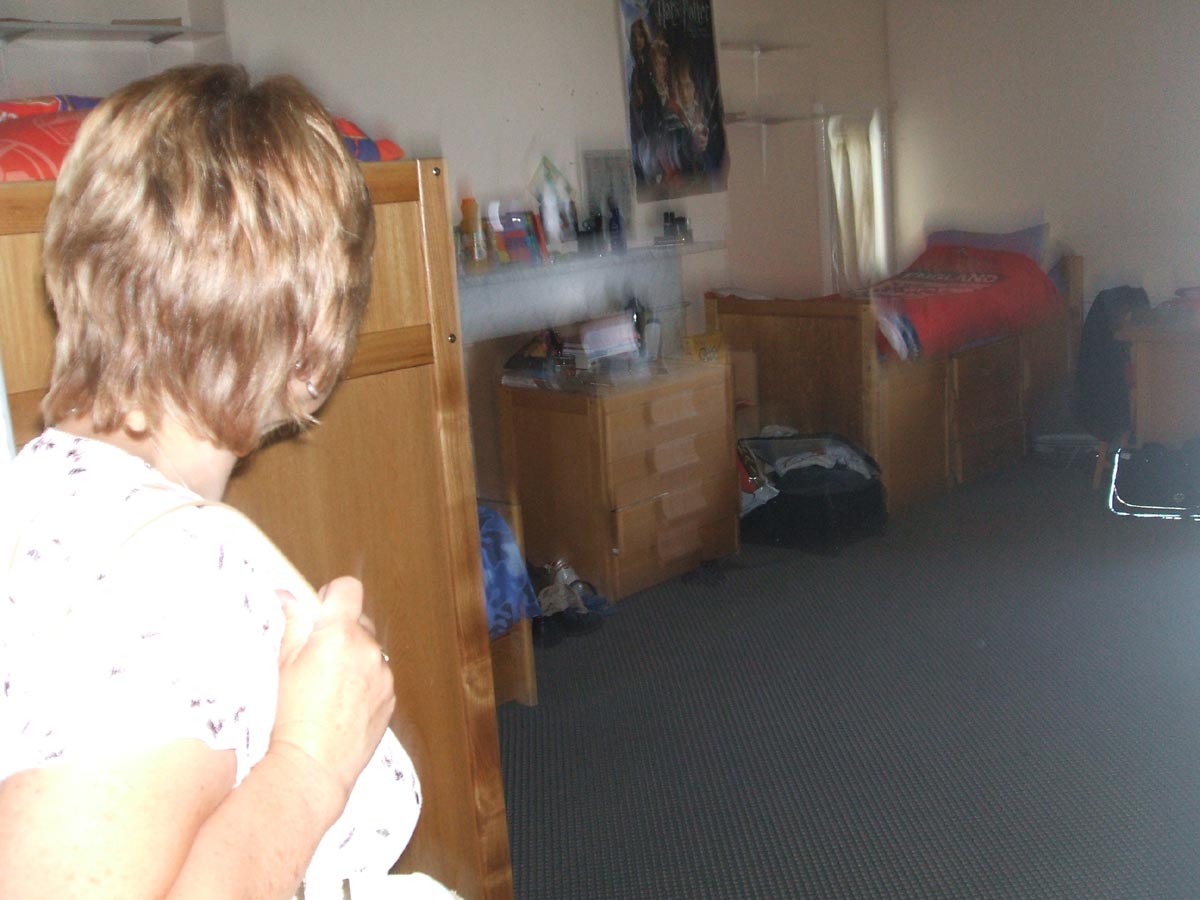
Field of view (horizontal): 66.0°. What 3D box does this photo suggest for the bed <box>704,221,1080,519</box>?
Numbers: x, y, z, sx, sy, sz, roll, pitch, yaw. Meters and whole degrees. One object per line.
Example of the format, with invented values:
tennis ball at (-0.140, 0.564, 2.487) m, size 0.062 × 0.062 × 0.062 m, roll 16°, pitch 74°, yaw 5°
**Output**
bed at (1.700, -0.628, 5.166) m, size 1.971 × 1.221 × 1.191 m, roll -16°, pitch 20°, yaw -38°
